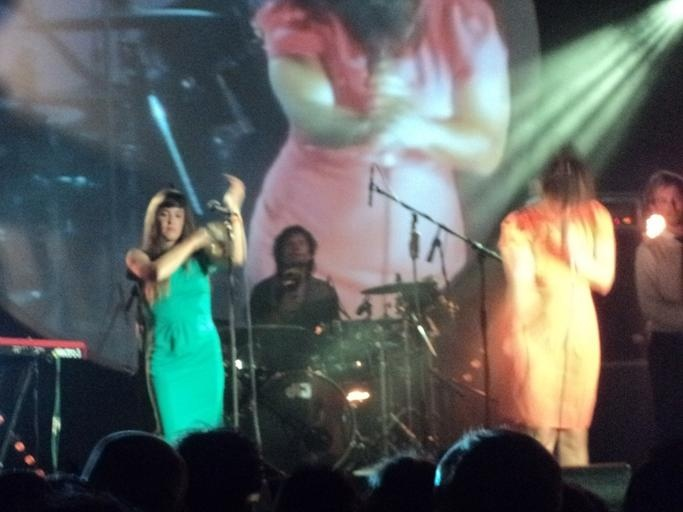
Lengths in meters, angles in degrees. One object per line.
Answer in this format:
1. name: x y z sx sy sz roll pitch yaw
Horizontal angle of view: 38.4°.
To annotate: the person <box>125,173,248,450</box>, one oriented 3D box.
1. person: -1.421 0.447 8.083 0.998 2.154 0.663 3 -17 -6
